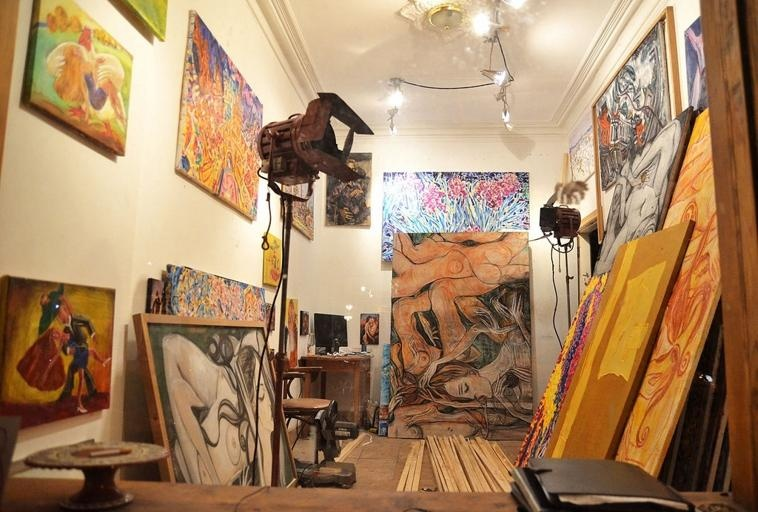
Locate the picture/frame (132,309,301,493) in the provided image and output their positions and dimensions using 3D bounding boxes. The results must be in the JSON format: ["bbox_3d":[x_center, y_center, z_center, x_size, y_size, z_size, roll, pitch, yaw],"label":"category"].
[{"bbox_3d":[-0.957,0.930,3.429,0.112,1.147,1.143,-22,-22,22],"label":"picture/frame"}]

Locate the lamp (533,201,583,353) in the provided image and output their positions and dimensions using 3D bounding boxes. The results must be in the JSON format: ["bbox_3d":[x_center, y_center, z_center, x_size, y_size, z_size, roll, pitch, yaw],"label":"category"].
[{"bbox_3d":[2.135,0.225,6.604,0.540,1.775,0.963,-1,0,17],"label":"lamp"}]

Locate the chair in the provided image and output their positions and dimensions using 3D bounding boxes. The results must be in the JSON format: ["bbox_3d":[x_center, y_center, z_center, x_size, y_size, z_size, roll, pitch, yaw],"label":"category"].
[{"bbox_3d":[-0.648,1.282,4.630,0.464,0.794,0.512,-7,-2,-8],"label":"chair"}]

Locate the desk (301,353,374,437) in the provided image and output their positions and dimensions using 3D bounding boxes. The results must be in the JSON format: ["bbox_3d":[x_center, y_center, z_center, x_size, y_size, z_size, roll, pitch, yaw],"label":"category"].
[{"bbox_3d":[-0.425,1.535,6.392,0.900,0.976,0.851,-2,-22,5],"label":"desk"}]

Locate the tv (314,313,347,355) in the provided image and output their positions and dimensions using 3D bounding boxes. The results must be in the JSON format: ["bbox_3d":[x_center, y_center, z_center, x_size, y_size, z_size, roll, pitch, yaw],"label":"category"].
[{"bbox_3d":[-0.599,0.943,6.522,0.130,0.473,0.524,-10,-11,43],"label":"tv"}]
